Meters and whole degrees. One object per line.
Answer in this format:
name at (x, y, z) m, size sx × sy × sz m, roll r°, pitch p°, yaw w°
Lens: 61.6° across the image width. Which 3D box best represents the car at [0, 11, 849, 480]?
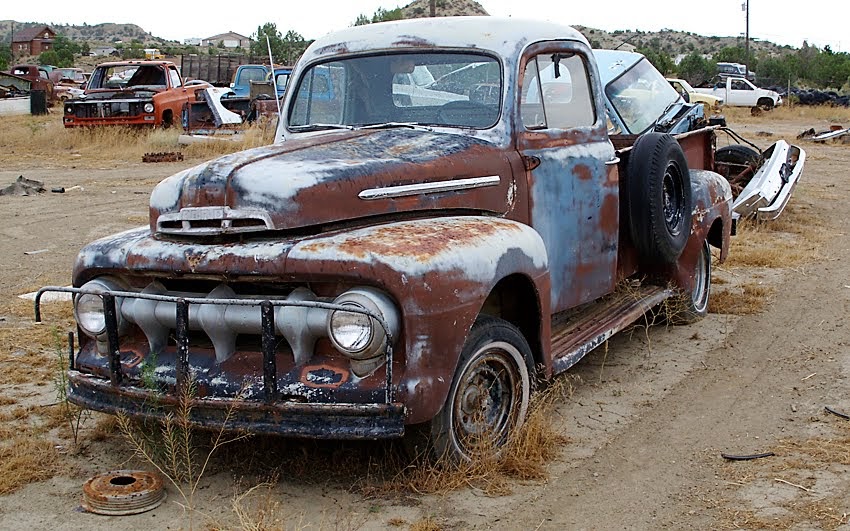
car at (0.949, -0.648, 7.109) m, size 2.930 × 2.397 × 7.177 m, roll 2°, pitch 9°, yaw 35°
